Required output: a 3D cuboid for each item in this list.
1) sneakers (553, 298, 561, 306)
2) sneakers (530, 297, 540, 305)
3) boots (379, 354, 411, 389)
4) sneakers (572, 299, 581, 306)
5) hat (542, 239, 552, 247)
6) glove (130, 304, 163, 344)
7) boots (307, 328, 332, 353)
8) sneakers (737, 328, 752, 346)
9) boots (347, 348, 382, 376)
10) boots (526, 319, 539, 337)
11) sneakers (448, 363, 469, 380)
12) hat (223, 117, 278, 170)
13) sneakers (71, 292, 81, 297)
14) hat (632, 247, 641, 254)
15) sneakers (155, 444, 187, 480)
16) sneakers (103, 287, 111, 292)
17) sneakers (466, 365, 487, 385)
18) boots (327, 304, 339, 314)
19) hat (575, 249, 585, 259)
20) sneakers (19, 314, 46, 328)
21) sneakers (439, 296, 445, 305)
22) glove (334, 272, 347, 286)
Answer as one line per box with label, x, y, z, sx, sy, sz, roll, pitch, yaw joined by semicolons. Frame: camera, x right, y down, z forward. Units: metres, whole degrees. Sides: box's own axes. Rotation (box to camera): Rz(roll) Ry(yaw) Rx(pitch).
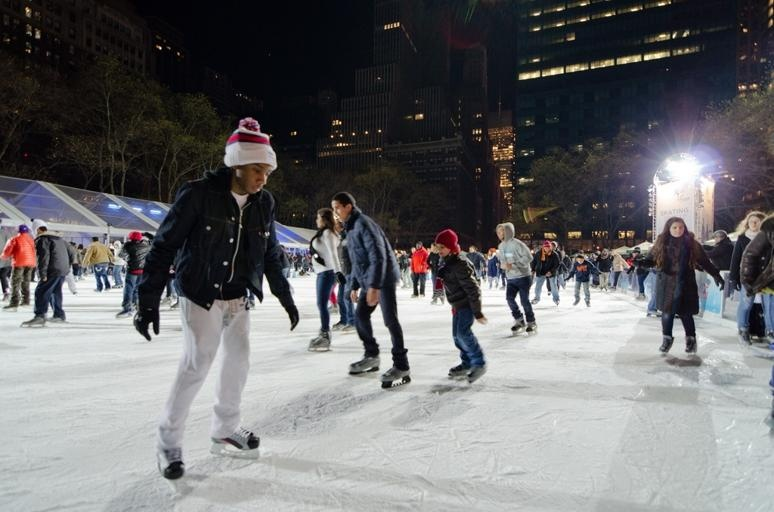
sneakers;5.054;1.345;17.233;0.116;0.155;0.362;-7;-27;5
sneakers;4.403;1.318;17.252;0.148;0.199;0.459;-9;-15;8
boots;0.110;1.690;8.069;0.184;0.313;0.529;-13;-14;39
sneakers;5.744;1.413;17.546;0.162;0.249;0.241;19;-4;-13
hat;4.098;-0.329;14.795;0.241;0.154;0.174;-3;1;-1
glove;-2.593;0.783;6.301;0.390;0.536;0.231;3;13;-10
boots;-1.184;1.470;10.069;0.389;0.304;0.257;-2;2;-14
sneakers;6.464;1.456;10.480;0.132;0.405;0.170;-1;-38;17
boots;-0.419;1.612;8.594;0.605;0.340;0.211;1;-4;-30
boots;2.889;1.443;11.634;0.191;0.275;0.277;-5;-47;9
sneakers;1.044;1.700;8.492;0.135;0.173;0.377;0;-14;-13
hat;-1.403;-1.250;6.417;0.622;0.616;0.495;2;9;2
sneakers;-9.861;1.196;18.355;0.106;0.144;0.343;0;-9;-36
hat;7.824;-0.195;18.195;0.239;0.329;0.326;-4;-20;23
sneakers;-2.268;2.181;6.101;0.157;0.191;0.464;1;-4;-31
sneakers;-9.931;1.166;20.613;0.263;0.127;0.108;-16;-15;41
sneakers;1.279;1.667;8.270;0.269;0.113;0.196;-39;14;-26
boots;-1.377;1.338;14.735;0.273;0.281;0.237;-2;0;29
hat;5.683;-0.067;17.098;0.199;0.269;0.247;10;1;-16
sneakers;-7.211;1.330;11.846;0.469;0.204;0.228;8;-2;-26
sneakers;1.673;1.350;17.697;0.198;0.209;0.373;-4;-10;11
glove;-0.774;0.365;9.754;0.240;0.119;0.346;0;-5;-5
